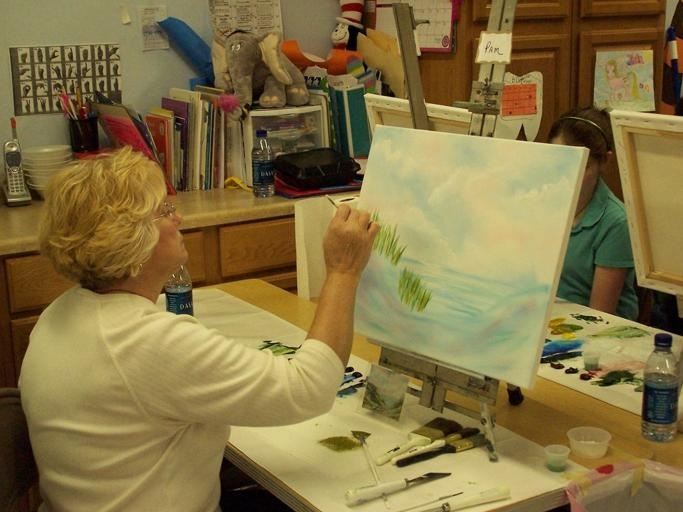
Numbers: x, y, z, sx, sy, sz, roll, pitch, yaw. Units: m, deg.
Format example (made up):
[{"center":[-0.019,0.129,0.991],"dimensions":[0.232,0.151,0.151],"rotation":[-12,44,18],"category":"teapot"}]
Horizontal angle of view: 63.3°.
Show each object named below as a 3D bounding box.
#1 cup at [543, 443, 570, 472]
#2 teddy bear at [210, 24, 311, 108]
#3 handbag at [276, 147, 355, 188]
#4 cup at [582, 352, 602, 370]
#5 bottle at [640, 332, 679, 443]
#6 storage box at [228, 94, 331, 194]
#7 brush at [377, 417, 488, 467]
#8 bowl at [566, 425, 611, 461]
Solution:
[{"center":[0.414,0.382,1.069],"dimensions":[0.042,0.030,0.042],"rotation":[0,21,0],"category":"cup"},{"center":[-0.416,-0.956,2.844],"dimensions":[0.463,0.421,0.306],"rotation":[-13,27,-34],"category":"teddy bear"},{"center":[-0.158,-0.468,2.813],"dimensions":[0.419,0.178,0.253],"rotation":[-10,28,-33],"category":"handbag"},{"center":[0.652,0.269,1.438],"dimensions":[0.040,0.034,0.042],"rotation":[-1,5,0],"category":"cup"},{"center":[0.700,0.270,1.202],"dimensions":[0.072,0.221,0.133],"rotation":[6,16,31],"category":"bottle"},{"center":[-0.375,-0.648,2.957],"dimensions":[0.568,0.480,0.336],"rotation":[-14,28,-37],"category":"storage box"},{"center":[0.191,0.371,1.149],"dimensions":[0.226,0.042,0.122],"rotation":[-3,14,-6],"category":"brush"},{"center":[0.499,0.369,1.120],"dimensions":[0.062,0.025,0.062],"rotation":[-1,13,0],"category":"bowl"}]
